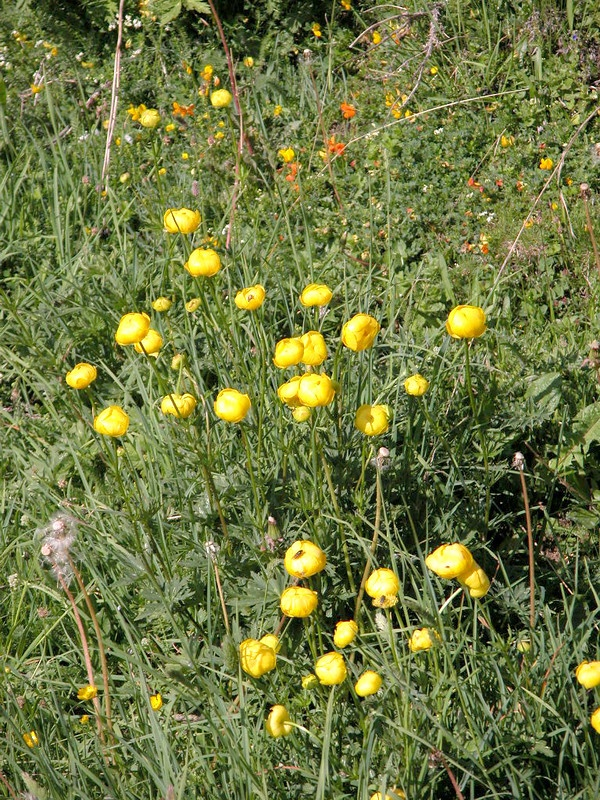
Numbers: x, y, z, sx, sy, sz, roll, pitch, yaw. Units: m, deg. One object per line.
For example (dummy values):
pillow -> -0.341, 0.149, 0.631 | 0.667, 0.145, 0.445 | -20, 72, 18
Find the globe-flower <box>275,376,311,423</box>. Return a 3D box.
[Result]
globe-flower -> -0.007, 0.006, 1.705 | 0.071, 0.095, 0.050 | -16, 14, -6

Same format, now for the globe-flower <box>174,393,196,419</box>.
globe-flower -> -0.253, 0.010, 1.914 | 0.035, 0.049, 0.038 | 28, 67, 30

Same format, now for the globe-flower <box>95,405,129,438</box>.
globe-flower -> -0.390, 0.044, 1.799 | 0.066, 0.065, 0.053 | -17, 50, 5

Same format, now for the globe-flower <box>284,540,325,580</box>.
globe-flower -> -0.001, 0.272, 1.483 | 0.073, 0.069, 0.047 | 3, 13, -12

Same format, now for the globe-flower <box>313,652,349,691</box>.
globe-flower -> 0.055, 0.463, 1.462 | 0.048, 0.081, 0.049 | -8, 46, 1

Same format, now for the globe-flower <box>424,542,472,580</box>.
globe-flower -> 0.242, 0.263, 1.408 | 0.067, 0.058, 0.040 | -9, -5, 7

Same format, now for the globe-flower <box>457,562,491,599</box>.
globe-flower -> 0.296, 0.302, 1.459 | 0.039, 0.077, 0.037 | 1, 42, 28

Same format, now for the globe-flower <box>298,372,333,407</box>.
globe-flower -> 0.031, -0.022, 1.579 | 0.053, 0.055, 0.063 | -3, 36, 7

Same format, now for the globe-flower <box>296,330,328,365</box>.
globe-flower -> 0.028, -0.104, 1.660 | 0.055, 0.061, 0.030 | -6, 5, 0

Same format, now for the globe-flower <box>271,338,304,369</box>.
globe-flower -> -0.022, -0.106, 1.652 | 0.050, 0.048, 0.063 | 21, 51, 7

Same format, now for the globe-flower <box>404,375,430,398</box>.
globe-flower -> 0.264, -0.034, 1.954 | 0.046, 0.045, 0.038 | -30, 33, -12
